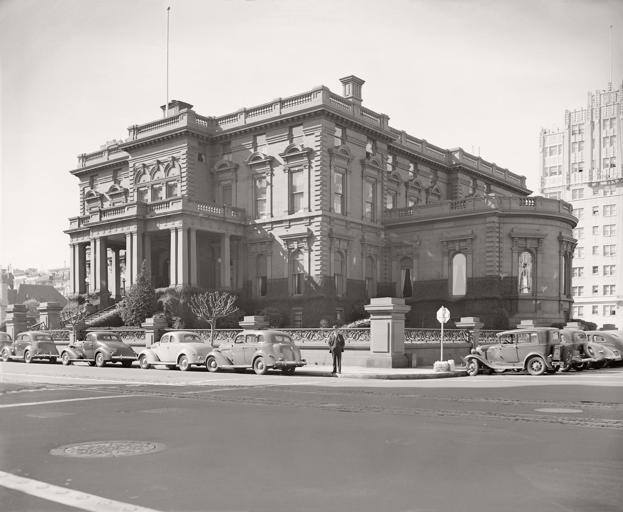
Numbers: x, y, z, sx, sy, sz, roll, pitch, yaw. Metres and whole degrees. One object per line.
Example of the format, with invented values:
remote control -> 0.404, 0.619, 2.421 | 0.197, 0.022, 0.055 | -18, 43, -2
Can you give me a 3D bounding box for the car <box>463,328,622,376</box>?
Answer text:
car -> 9.251, 3.503, 34.504 | 7.760, 1.654, 3.271 | 3, -6, -35
